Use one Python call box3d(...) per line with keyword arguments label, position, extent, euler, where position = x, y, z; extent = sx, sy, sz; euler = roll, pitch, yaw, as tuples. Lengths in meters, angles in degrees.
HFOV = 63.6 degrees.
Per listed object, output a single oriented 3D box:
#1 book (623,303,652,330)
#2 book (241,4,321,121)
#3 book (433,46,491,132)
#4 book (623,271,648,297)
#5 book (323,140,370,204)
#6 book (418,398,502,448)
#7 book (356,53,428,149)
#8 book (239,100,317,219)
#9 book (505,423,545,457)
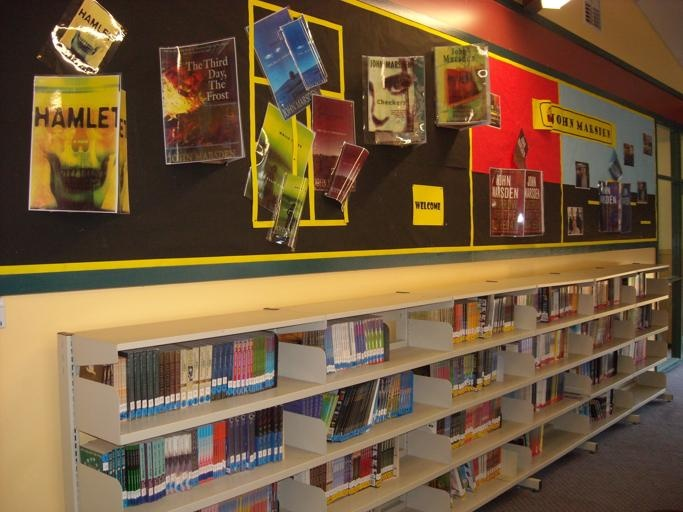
box3d(label="book", position=(3.099, 0.644, 5.769), extent=(0.286, 0.304, 0.158), euler=(-1, -1, -41))
box3d(label="book", position=(-0.384, -1.102, 3.324), extent=(0.115, 0.538, 0.516), euler=(1, 34, 39))
box3d(label="book", position=(0.881, -1.188, 4.040), extent=(0.462, 0.542, 0.119), euler=(-1, 2, -11))
box3d(label="book", position=(3.184, 0.283, 5.979), extent=(0.285, 0.370, 0.304), euler=(-1, 0, 24))
box3d(label="book", position=(0.026, -0.515, 3.540), extent=(0.219, 0.388, 0.086), euler=(27, -12, -23))
box3d(label="book", position=(0.806, 1.137, 3.897), extent=(0.637, 0.226, 0.225), euler=(-2, 0, -44))
box3d(label="book", position=(0.361, -1.030, 3.770), extent=(0.523, 0.570, 0.092), euler=(-9, 7, -33))
box3d(label="book", position=(-0.370, -0.549, 3.260), extent=(0.506, 0.625, 0.046), euler=(-10, 8, -41))
box3d(label="book", position=(1.447, 1.427, 4.434), extent=(0.229, 0.341, 0.319), euler=(10, -13, -43))
